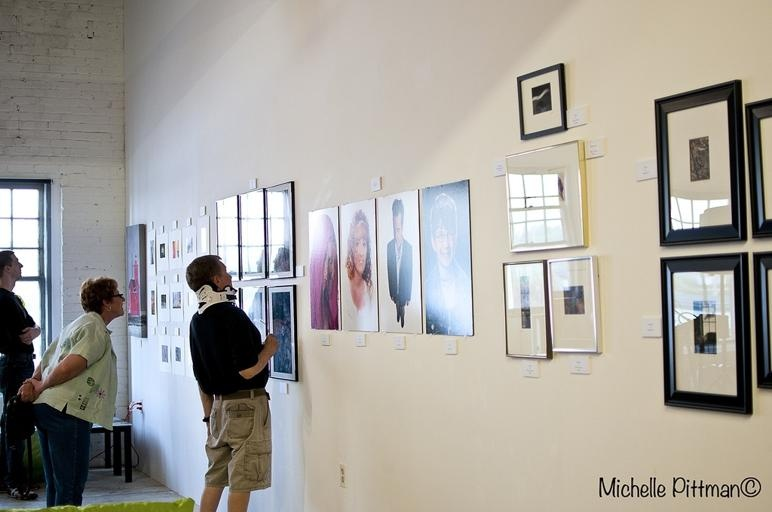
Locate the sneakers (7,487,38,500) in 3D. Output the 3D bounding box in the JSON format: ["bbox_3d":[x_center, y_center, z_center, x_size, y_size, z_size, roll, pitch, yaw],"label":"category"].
[{"bbox_3d":[-3.785,2.454,6.698,0.309,0.127,0.117,0,-7,15],"label":"sneakers"}]

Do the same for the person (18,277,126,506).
[{"bbox_3d":[-2.560,1.145,5.222,0.580,1.793,0.857,-1,9,18],"label":"person"}]

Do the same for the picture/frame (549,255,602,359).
[{"bbox_3d":[1.120,0.288,3.814,0.318,0.564,0.155,1,9,25],"label":"picture/frame"}]

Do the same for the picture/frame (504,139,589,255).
[{"bbox_3d":[1.001,-0.350,3.903,0.651,0.832,0.103,-4,-4,44],"label":"picture/frame"}]

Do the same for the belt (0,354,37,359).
[{"bbox_3d":[-3.787,1.051,6.702,0.161,0.042,0.166,0,-5,-2],"label":"belt"}]

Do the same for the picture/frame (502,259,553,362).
[{"bbox_3d":[0.889,0.327,3.977,0.295,0.585,0.162,1,9,25],"label":"picture/frame"}]

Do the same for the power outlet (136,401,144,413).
[{"bbox_3d":[-3.044,1.862,7.961,0.094,0.136,0.046,-1,1,24],"label":"power outlet"}]

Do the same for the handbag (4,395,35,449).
[{"bbox_3d":[-2.938,1.298,5.133,0.384,0.379,0.156,3,10,35],"label":"handbag"}]

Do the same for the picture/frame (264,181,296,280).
[{"bbox_3d":[-0.921,-0.221,5.679,0.143,0.843,0.490,-10,11,-39],"label":"picture/frame"}]
